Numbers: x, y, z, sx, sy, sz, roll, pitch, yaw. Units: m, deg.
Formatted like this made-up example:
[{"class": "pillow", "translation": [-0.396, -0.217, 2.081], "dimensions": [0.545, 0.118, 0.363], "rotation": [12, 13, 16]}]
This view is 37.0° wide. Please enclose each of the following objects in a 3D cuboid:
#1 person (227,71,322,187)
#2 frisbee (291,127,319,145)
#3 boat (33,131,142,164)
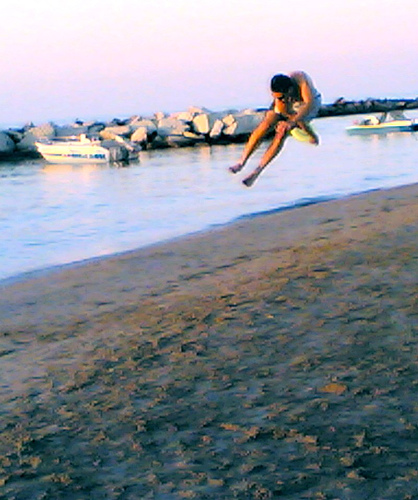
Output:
[{"class": "person", "translation": [0.750, -1.294, 6.866], "dimensions": [0.764, 1.145, 1.133], "rotation": [-7, 8, -19]}, {"class": "frisbee", "translation": [1.071, -1.264, 6.975], "dimensions": [0.303, 0.202, 0.301], "rotation": [-3, 7, 7]}, {"class": "boat", "translation": [-10.660, -8.339, 50.794], "dimensions": [7.505, 1.238, 3.026], "rotation": [3, 25, 8]}]
